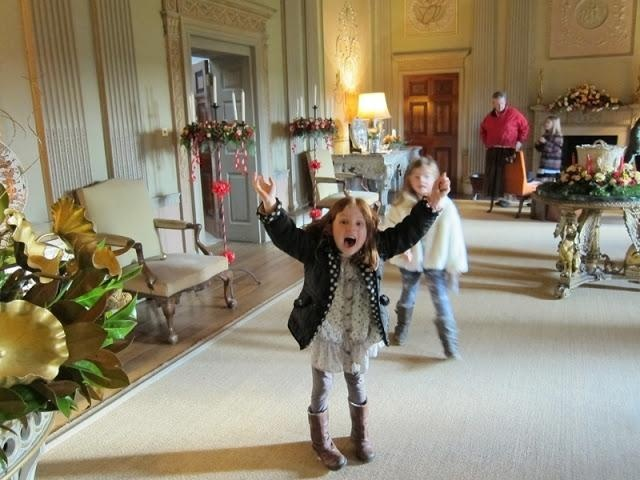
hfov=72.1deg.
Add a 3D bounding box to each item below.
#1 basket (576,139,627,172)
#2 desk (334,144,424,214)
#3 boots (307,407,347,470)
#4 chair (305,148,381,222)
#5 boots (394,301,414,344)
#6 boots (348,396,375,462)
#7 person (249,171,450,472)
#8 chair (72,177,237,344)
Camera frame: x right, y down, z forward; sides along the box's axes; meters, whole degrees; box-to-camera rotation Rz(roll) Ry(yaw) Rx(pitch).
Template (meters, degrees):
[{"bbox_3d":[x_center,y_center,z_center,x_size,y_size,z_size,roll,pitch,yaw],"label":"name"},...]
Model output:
[{"bbox_3d":[2.557,-0.742,3.933,0.323,0.228,0.308,5,13,35],"label":"basket"},{"bbox_3d":[1.199,-1.163,8.299,0.919,1.298,2.674,-1,17,24],"label":"desk"},{"bbox_3d":[0.039,0.926,2.053,0.104,0.224,0.231,-12,16,-30],"label":"boots"},{"bbox_3d":[0.368,-0.650,5.784,0.881,1.082,0.813,0,12,19],"label":"chair"},{"bbox_3d":[0.603,0.589,3.107,0.110,0.259,0.260,9,21,17],"label":"boots"},{"bbox_3d":[0.211,0.902,2.087,0.094,0.224,0.226,-2,9,-11],"label":"boots"},{"bbox_3d":[0.165,0.336,2.046,0.841,1.342,0.325,-8,15,-17],"label":"person"},{"bbox_3d":[-1.280,0.086,3.493,0.906,1.143,0.876,1,12,9],"label":"chair"}]
